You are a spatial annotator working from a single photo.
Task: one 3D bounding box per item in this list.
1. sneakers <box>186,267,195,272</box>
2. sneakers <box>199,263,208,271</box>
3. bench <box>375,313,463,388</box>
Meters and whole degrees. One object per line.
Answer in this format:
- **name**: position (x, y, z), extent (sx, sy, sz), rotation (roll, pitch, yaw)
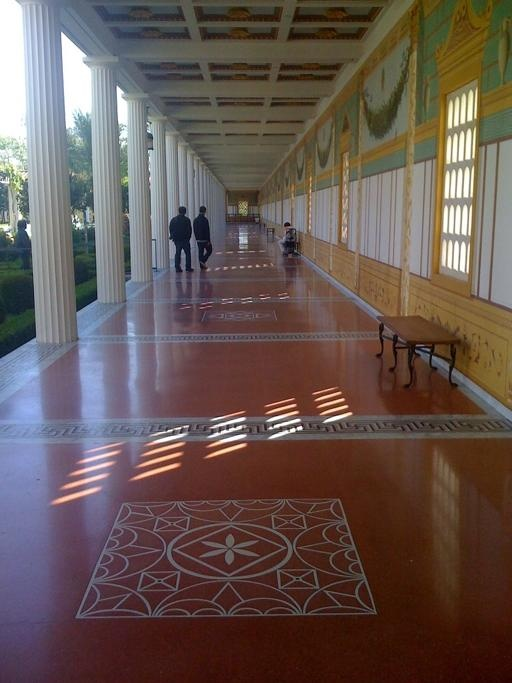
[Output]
- **sneakers**: position (-2.093, -2.264, 14.607), extent (0.247, 0.252, 0.092), rotation (-9, 44, -18)
- **sneakers**: position (-1.817, -2.613, 15.877), extent (0.125, 0.196, 0.445), rotation (6, 22, -2)
- **bench**: position (1.795, 0.072, 5.122), extent (0.751, 0.681, 1.575), rotation (-1, 4, 11)
